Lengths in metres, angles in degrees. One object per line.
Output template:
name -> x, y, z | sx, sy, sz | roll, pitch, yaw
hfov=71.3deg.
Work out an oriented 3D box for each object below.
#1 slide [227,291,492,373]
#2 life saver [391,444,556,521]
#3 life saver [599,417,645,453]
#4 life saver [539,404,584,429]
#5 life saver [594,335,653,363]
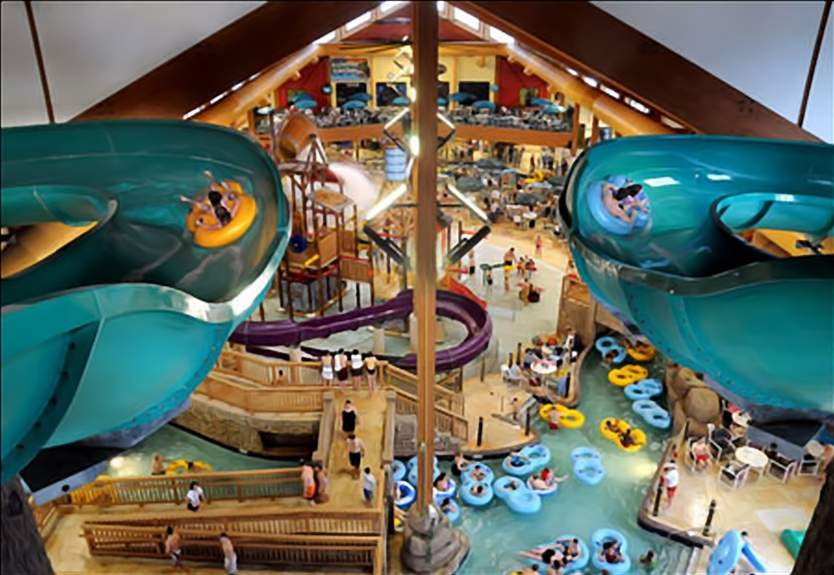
slide -> -1.175, 0.888, 15.008 | 4.956, 2.862, 0.699 | -4, -54, -11
life saver -> 1.627, 4.271, 12.729 | 2.459, 1.465, 0.365 | 2, -60, -2
life saver -> 4.925, 3.503, 14.096 | 0.619, 0.902, 0.365 | -16, -60, -26
life saver -> 3.645, 3.247, 14.617 | 0.704, 0.696, 0.189 | -7, -68, -16
life saver -> 5.996, 1.805, 16.890 | 1.221, 0.814, 0.299 | -6, -66, -23
